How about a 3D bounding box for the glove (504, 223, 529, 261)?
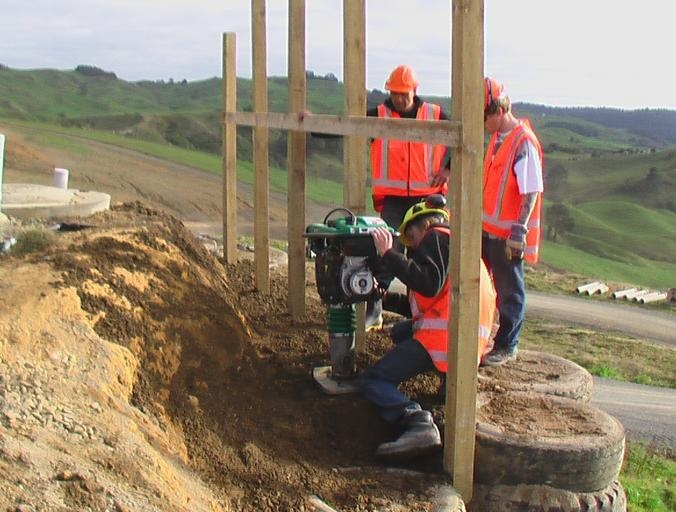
[{"bbox_3d":[5.239,-0.407,36.750,0.493,1.109,0.371,7,1,14],"label":"glove"}]
